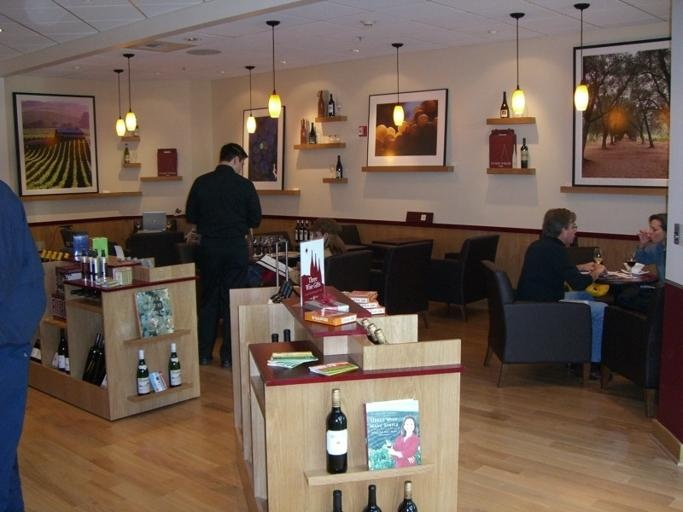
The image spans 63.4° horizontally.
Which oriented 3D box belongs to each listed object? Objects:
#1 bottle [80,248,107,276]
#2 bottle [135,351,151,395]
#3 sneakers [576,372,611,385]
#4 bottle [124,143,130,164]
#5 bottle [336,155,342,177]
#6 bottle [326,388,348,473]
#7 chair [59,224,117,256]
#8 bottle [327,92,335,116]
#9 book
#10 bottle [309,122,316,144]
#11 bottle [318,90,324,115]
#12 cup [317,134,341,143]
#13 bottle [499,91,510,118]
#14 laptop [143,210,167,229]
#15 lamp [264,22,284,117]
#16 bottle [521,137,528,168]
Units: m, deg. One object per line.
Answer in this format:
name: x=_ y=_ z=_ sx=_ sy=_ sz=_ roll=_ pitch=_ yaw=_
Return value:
bottle: x=-2.166 y=0.062 z=4.842 sx=0.244 sy=0.308 sz=0.211 roll=3 pitch=-2 yaw=-35
bottle: x=-1.746 y=1.021 z=4.857 sx=0.126 sy=0.415 sz=0.136 roll=0 pitch=10 yaw=0
sneakers: x=2.528 y=1.209 z=5.509 sx=0.345 sy=0.152 sz=0.117 roll=-4 pitch=6 yaw=-2
bottle: x=-4.305 y=-2.013 z=11.043 sx=0.131 sy=0.418 sz=0.169 roll=-5 pitch=11 yaw=-22
bottle: x=-0.036 y=-1.536 z=9.599 sx=0.117 sy=0.374 sz=0.105 roll=1 pitch=10 yaw=10
bottle: x=-0.021 y=0.896 z=2.841 sx=0.121 sy=0.460 sz=0.110 roll=-1 pitch=10 yaw=-1
chair: x=-3.370 y=-0.224 z=7.238 sx=0.308 sy=0.394 sz=0.563 roll=-7 pitch=12 yaw=-43
bottle: x=-0.182 y=-2.590 z=9.542 sx=0.143 sy=0.392 sz=0.122 roll=7 pitch=13 yaw=38
book: x=0.263 y=0.929 z=2.853 sx=0.335 sy=0.404 sz=0.053 roll=-1 pitch=-2 yaw=-18
bottle: x=-0.504 y=-2.177 z=9.833 sx=0.115 sy=0.363 sz=0.189 roll=-9 pitch=13 yaw=-40
bottle: x=-0.339 y=-2.649 z=9.630 sx=0.096 sy=0.436 sz=0.132 roll=4 pitch=11 yaw=24
cup: x=-0.233 y=-2.012 z=9.635 sx=0.579 sy=0.145 sz=0.178 roll=8 pitch=13 yaw=38
bottle: x=2.349 y=-2.152 z=7.907 sx=0.131 sy=0.376 sz=0.209 roll=3 pitch=11 yaw=17
laptop: x=-3.269 y=-0.607 z=9.666 sx=0.367 sy=0.261 sz=0.272 roll=1 pitch=14 yaw=-10
lamp: x=-0.936 y=-2.575 z=7.653 sx=0.273 sy=1.229 sz=0.280 roll=-2 pitch=12 yaw=-11
bottle: x=2.604 y=-1.444 z=7.838 sx=0.129 sy=0.436 sz=0.159 roll=3 pitch=11 yaw=19
